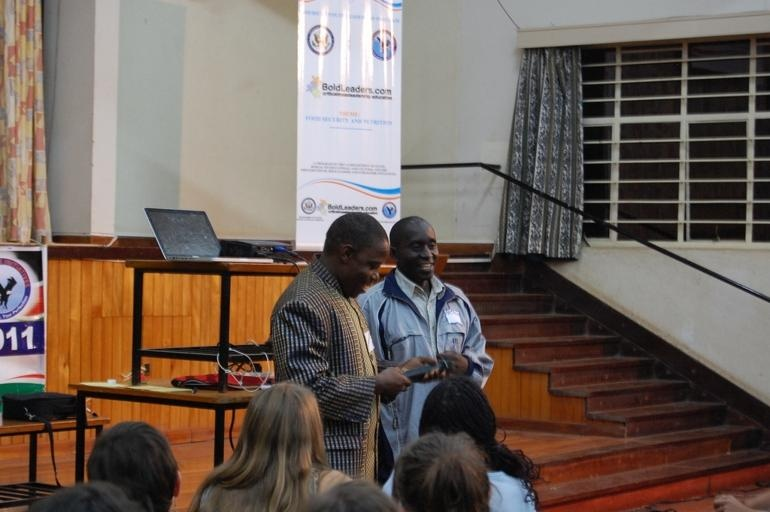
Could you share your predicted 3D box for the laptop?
[{"bbox_3d":[-1.190,-0.142,5.579,0.665,0.312,0.411,-2,9,-32],"label":"laptop"}]
